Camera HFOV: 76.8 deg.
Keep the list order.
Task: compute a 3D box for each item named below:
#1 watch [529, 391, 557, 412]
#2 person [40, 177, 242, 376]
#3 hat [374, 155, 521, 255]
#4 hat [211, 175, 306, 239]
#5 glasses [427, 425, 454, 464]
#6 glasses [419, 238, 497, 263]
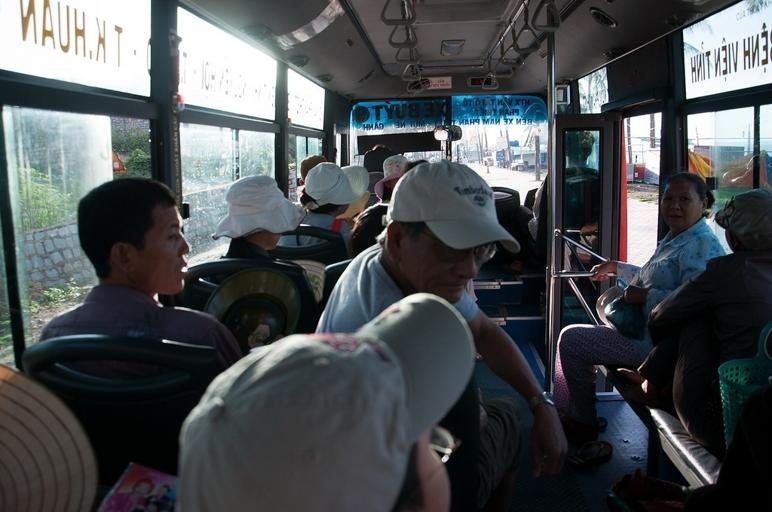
[{"bbox_3d":[0.567,0.520,1.803,0.076,0.073,0.076,-3,32,-38],"label":"watch"},{"bbox_3d":[-1.008,0.124,1.909,0.925,0.825,0.466,-6,2,33],"label":"person"},{"bbox_3d":[0.216,-0.182,1.661,0.383,0.208,0.272,18,18,38],"label":"hat"},{"bbox_3d":[-0.780,-0.222,2.903,0.422,0.228,0.399,-13,16,13],"label":"hat"},{"bbox_3d":[0.104,0.352,0.906,0.047,0.035,0.059,-37,27,-22],"label":"glasses"},{"bbox_3d":[0.303,-0.012,1.681,0.123,0.034,0.120,22,2,24],"label":"glasses"}]
